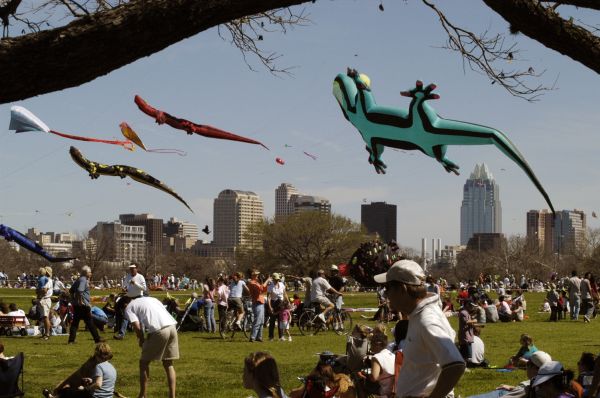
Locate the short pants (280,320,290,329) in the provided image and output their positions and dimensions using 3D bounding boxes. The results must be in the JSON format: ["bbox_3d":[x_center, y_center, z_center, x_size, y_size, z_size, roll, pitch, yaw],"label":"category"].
[{"bbox_3d":[-0.513,4.364,39.727,0.291,0.251,0.276,1,-14,-3],"label":"short pants"}]

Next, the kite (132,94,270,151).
[{"bbox_3d":[-2.529,-1.844,28.710,3.658,0.569,0.750,19,-8,8],"label":"kite"}]

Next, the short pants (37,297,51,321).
[{"bbox_3d":[-8.924,3.841,39.747,0.430,0.789,0.380,2,-10,-5],"label":"short pants"}]

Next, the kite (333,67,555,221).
[{"bbox_3d":[3.088,-1.573,27.128,2.285,2.553,6.207,-23,29,-38],"label":"kite"}]
